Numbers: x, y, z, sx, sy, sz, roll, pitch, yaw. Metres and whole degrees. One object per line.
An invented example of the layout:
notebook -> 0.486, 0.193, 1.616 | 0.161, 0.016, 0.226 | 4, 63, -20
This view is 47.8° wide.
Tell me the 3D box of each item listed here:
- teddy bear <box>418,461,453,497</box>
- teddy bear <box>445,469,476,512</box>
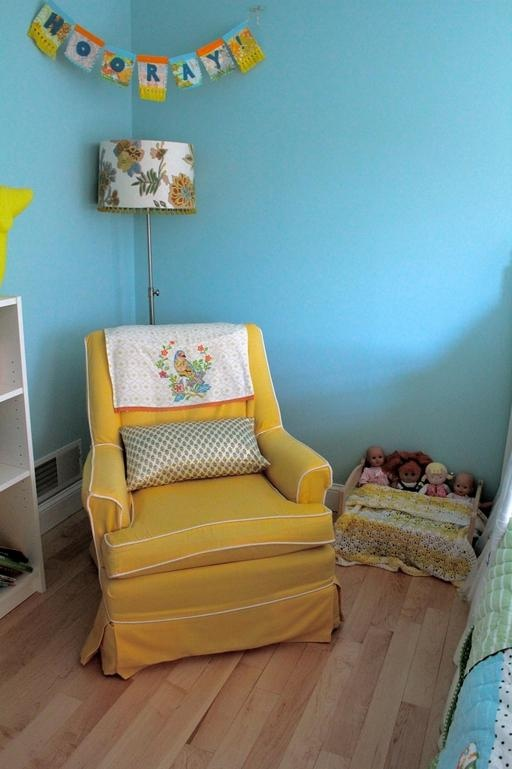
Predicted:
teddy bear -> 0.715, 0.381, 2.310 | 0.121, 0.145, 0.061 | 0, -20, 10
teddy bear -> 0.805, 0.400, 2.261 | 0.101, 0.096, 0.131 | 6, 13, 21
